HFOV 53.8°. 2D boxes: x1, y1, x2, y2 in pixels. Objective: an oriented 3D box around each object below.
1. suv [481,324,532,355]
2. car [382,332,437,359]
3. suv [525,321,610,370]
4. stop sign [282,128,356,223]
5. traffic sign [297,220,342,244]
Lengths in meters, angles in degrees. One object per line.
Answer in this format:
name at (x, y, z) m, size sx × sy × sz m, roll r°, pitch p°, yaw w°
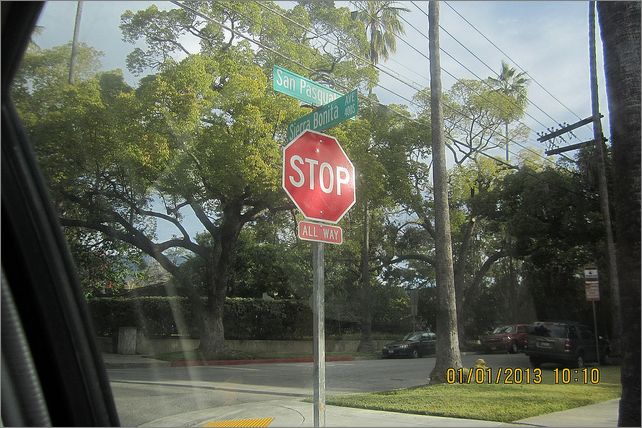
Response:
suv at (10.872, 7.260, 36.808) m, size 2.491 × 1.687 × 1.725 m, roll -1°, pitch -12°, yaw -3°
car at (4.870, 6.992, 33.725) m, size 3.040 × 1.334 × 1.172 m, roll 8°, pitch -15°, yaw -36°
suv at (8.920, 4.625, 22.566) m, size 2.741 × 1.130 × 1.484 m, roll 6°, pitch -11°, yaw -43°
stop sign at (-0.004, -0.567, 9.149) m, size 1.314 × 1.343 × 0.110 m, roll 13°, pitch 23°, yaw 35°
traffic sign at (-0.026, 0.243, 8.864) m, size 0.869 × 0.321 × 0.266 m, roll 10°, pitch -16°, yaw -41°
